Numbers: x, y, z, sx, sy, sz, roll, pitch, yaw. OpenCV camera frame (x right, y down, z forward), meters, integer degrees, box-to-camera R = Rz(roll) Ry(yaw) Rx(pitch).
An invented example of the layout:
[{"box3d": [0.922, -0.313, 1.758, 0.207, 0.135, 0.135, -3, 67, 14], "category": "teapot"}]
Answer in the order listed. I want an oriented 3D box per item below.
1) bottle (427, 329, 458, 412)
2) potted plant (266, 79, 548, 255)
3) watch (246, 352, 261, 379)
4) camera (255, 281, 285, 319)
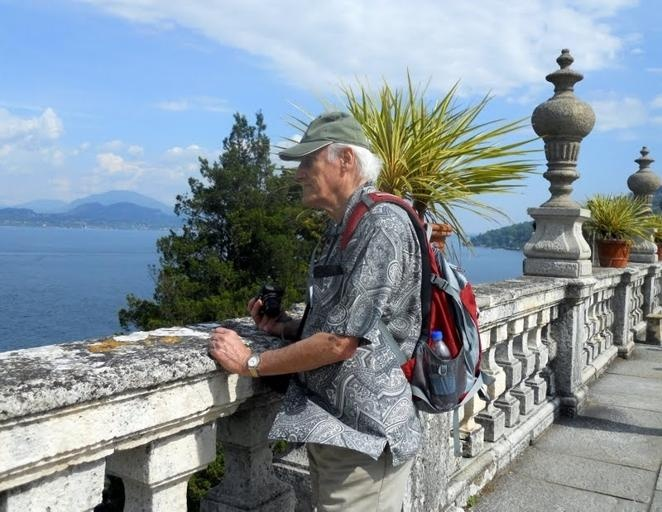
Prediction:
[{"box3d": [0.427, 0.441, 1.992, 0.114, 0.316, 0.082, -1, 0, 3], "category": "bottle"}, {"box3d": [0.503, -0.467, 3.687, 1.312, 1.315, 1.302, 8, -1, 35], "category": "potted plant"}, {"box3d": [-0.265, 0.390, 1.884, 0.047, 0.080, 0.073, 7, -22, -3], "category": "watch"}, {"box3d": [-0.263, 0.196, 2.289, 0.095, 0.143, 0.062, 5, 21, 0], "category": "camera"}]
